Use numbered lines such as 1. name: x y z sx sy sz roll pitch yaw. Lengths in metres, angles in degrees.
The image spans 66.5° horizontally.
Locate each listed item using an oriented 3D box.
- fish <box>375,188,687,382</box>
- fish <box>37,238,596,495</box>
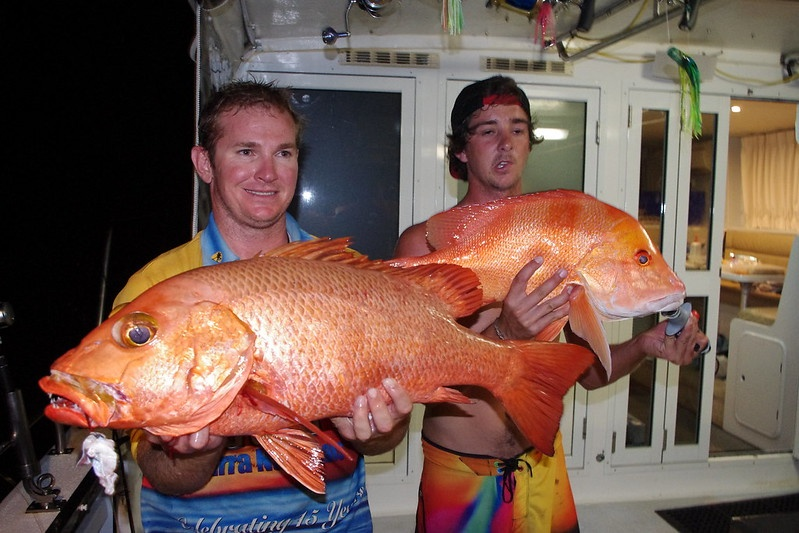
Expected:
1. fish: 0.591 0.035 3.237 1.673 0.920 0.512 1 23 14
2. fish: -0.291 0.422 2.870 2.237 1.148 0.770 1 5 0
